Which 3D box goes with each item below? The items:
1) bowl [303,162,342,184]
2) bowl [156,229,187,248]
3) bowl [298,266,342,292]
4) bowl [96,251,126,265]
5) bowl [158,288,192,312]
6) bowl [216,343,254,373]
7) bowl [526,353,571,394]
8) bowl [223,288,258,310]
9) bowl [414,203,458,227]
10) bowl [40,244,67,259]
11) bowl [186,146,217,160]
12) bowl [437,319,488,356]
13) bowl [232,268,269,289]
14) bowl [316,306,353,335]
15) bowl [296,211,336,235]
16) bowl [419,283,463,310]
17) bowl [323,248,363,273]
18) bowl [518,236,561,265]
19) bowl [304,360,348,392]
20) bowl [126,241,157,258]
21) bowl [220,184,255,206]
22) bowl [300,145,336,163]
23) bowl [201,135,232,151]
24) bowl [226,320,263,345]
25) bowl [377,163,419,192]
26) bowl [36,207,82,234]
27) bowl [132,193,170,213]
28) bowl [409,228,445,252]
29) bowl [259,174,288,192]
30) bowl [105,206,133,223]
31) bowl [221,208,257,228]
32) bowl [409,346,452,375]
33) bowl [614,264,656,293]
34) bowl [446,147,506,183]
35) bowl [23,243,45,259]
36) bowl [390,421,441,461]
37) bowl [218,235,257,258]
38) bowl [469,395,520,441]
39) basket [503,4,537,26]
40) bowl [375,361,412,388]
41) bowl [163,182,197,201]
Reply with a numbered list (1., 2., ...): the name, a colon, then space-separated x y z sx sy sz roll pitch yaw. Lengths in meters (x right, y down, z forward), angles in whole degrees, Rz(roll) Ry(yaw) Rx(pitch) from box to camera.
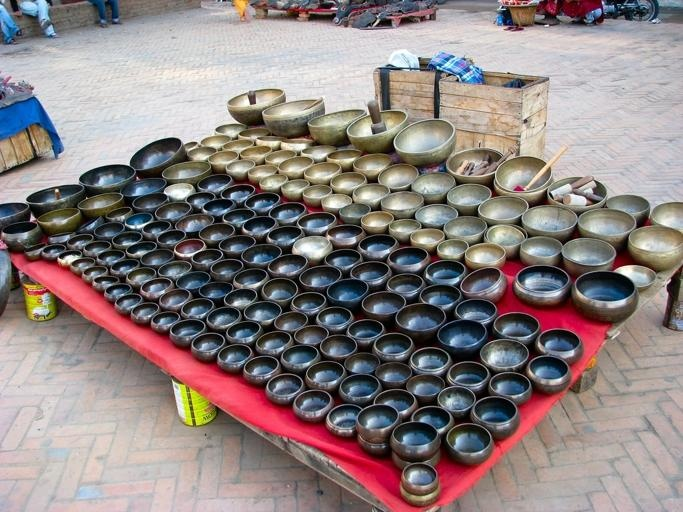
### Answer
1. bowl: -0.127 -0.722 4.558 0.313 0.098 0.301 -10 37 7
2. bowl: -1.352 -0.155 4.072 0.255 0.090 0.171 2 36 7
3. bowl: -0.142 0.146 3.532 0.293 0.104 0.213 -14 33 -7
4. bowl: -1.817 0.007 4.065 0.214 0.052 0.148 7 33 9
5. bowl: -1.152 0.316 3.576 0.238 0.060 0.164 6 36 9
6. bowl: -0.646 0.650 3.210 0.245 0.067 0.207 18 37 23
7. bowl: 1.129 0.655 2.783 0.237 0.089 0.200 6 31 29
8. bowl: -0.683 0.287 3.461 0.240 0.066 0.162 2 35 8
9. bowl: 0.737 -0.314 3.886 0.310 0.076 0.220 -17 44 -8
10. bowl: -2.321 -0.037 4.181 0.187 0.049 0.137 10 36 13
11. bowl: -1.396 -1.036 5.091 0.293 0.072 0.194 1 35 1
12. bowl: 0.708 0.465 2.993 0.324 0.118 0.214 -8 39 6
13. bowl: -0.646 0.167 3.626 0.212 0.063 0.183 22 51 32
14. bowl: -0.042 0.392 3.229 0.260 0.104 0.168 -1 41 2
15. bowl: -0.191 -0.264 3.998 0.327 0.083 0.216 -2 37 7
16. bowl: 0.637 0.251 3.241 0.261 0.094 0.176 -6 35 -4
17. bowl: 0.013 0.029 3.650 0.280 0.072 0.187 -2 38 4
18. bowl: 1.332 -0.026 3.455 0.318 0.116 0.211 -5 46 10
19. bowl: -0.091 0.702 2.967 0.237 0.086 0.191 -14 27 -22
20. bowl: -1.572 -0.031 4.059 0.219 0.056 0.164 11 35 18
21. bowl: -0.906 -0.534 4.510 0.351 0.126 0.215 0 51 3
22. bowl: -0.217 -0.975 4.798 0.294 0.068 0.203 -8 34 -9
23. bowl: -1.300 -1.166 5.393 0.328 0.081 0.220 8 46 13
24. bowl: -0.616 0.492 3.291 0.226 0.056 0.183 11 27 23
25. bowl: 0.480 -0.646 4.375 0.434 0.109 0.255 0 66 15
26. bowl: -2.373 -0.303 4.367 0.391 0.132 0.290 -7 27 -14
27. bowl: -1.668 -0.471 4.448 0.321 0.090 0.203 -7 48 -5
28. bowl: 0.622 -0.137 3.668 0.293 0.102 0.193 -3 37 4
29. bowl: -0.592 -0.643 4.480 0.247 0.082 0.194 -19 36 -16
30. bowl: -1.911 -0.359 4.439 0.217 0.055 0.149 1 35 8
31. bowl: -0.843 -0.341 4.182 0.292 0.074 0.193 -6 37 -1
32. bowl: 0.509 0.600 2.929 0.225 0.089 0.140 -9 53 8
33. bowl: 1.854 0.127 3.226 0.250 0.065 0.214 19 47 34
34. bowl: 1.136 -0.748 4.253 0.572 0.153 0.380 -8 37 1
35. bowl: -2.515 -0.041 4.228 0.184 0.058 0.154 -10 26 -18
36. bowl: 0.350 0.918 2.551 0.268 0.063 0.211 4 14 18
37. bowl: -0.811 -0.058 3.974 0.295 0.085 0.182 4 55 9
38. bowl: 0.788 0.832 2.607 0.292 0.095 0.220 -13 17 -16
39. basket: 4.095 -5.464 11.667 0.691 0.413 0.626 -27 35 -15
40. bowl: 0.292 0.657 2.894 0.219 0.064 0.144 -6 38 0
41. bowl: -1.437 -0.577 4.575 0.285 0.073 0.184 -5 42 -5
